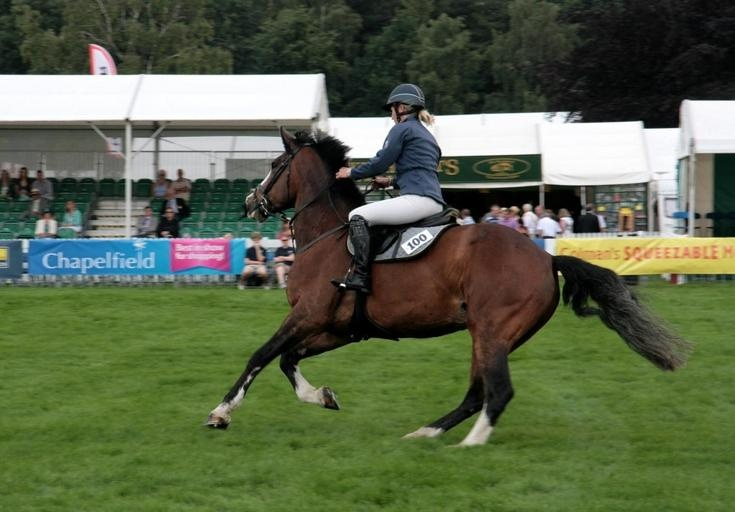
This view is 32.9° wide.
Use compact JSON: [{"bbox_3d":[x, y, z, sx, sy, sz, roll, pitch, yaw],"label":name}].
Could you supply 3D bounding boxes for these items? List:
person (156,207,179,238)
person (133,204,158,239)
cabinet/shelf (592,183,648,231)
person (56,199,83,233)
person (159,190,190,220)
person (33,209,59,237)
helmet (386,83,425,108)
[{"bbox_3d":[-5.745,-0.898,35.619,0.660,0.844,0.785,-1,0,-8],"label":"person"},{"bbox_3d":[-6.431,-0.939,36.039,0.605,0.873,0.591,-1,-1,-8],"label":"person"},{"bbox_3d":[8.074,-1.444,39.258,0.802,1.341,2.074,-4,5,-40],"label":"cabinet/shelf"},{"bbox_3d":[-9.027,-1.101,37.738,0.671,1.021,1.403,0,0,-13],"label":"person"},{"bbox_3d":[-5.876,-1.445,37.382,1.435,0.796,0.596,-2,-14,-10],"label":"person"},{"bbox_3d":[-9.513,-0.880,36.556,0.643,0.783,0.742,0,0,-12],"label":"person"},{"bbox_3d":[0.812,-3.177,25.165,0.867,0.280,0.505,7,-2,4],"label":"helmet"}]
